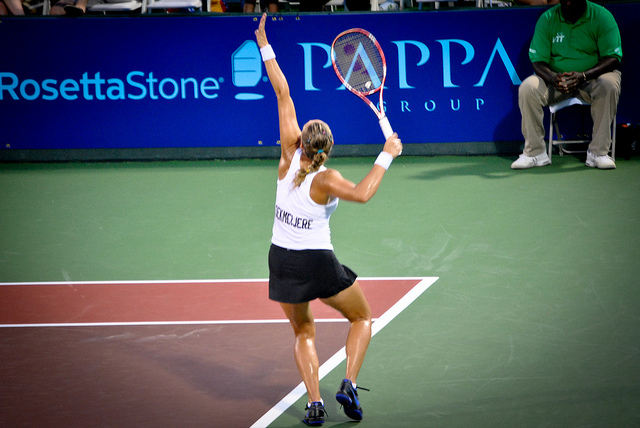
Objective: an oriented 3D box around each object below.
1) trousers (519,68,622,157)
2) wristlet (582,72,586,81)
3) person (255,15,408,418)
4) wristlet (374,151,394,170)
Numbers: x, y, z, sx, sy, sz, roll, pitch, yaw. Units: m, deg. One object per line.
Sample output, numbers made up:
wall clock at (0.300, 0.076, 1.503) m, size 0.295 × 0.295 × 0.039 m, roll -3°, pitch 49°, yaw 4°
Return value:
trousers at (4.333, -1.748, 10.945) m, size 1.618 × 1.450 × 0.687 m, roll 4°, pitch 15°, yaw 21°
wristlet at (4.504, -2.322, 10.632) m, size 0.057 × 0.136 × 0.022 m, roll -6°, pitch 15°, yaw -15°
person at (-0.094, 0.283, 5.792) m, size 0.875 × 2.901 × 1.440 m, roll -11°, pitch 17°, yaw -32°
wristlet at (0.584, -0.476, 5.677) m, size 0.141 × 0.167 × 0.211 m, roll 11°, pitch 19°, yaw 42°
